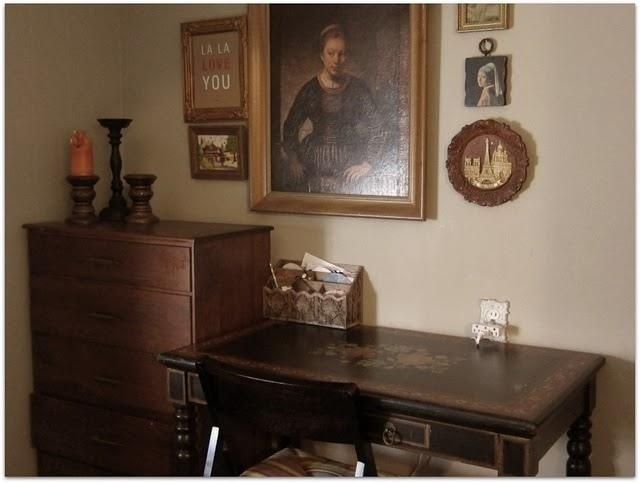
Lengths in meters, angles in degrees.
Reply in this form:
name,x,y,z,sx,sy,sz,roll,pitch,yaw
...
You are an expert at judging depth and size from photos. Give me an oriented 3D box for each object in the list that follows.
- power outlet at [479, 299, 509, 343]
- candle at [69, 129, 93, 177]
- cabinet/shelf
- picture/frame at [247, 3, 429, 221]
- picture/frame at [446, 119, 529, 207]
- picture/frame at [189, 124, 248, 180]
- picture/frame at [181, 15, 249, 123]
name,x,y,z,sx,sy,sz,roll,pitch,yaw
power outlet,0.742,0.343,2.234,0.169,0.234,0.036,1,-1,34
candle,-1.209,-0.441,2.668,0.102,0.219,0.068,-7,13,-28
cabinet/shelf,-0.757,0.465,2.355,1.149,1.559,0.584,2,4,26
picture/frame,0.117,-0.628,2.456,0.944,1.170,0.054,5,10,26
picture/frame,0.717,-0.333,2.243,0.328,0.386,0.035,3,36,21
picture/frame,-0.519,-0.473,2.762,0.284,0.253,0.030,3,9,23
picture/frame,-0.545,-0.884,2.728,0.393,0.495,0.055,4,13,23
